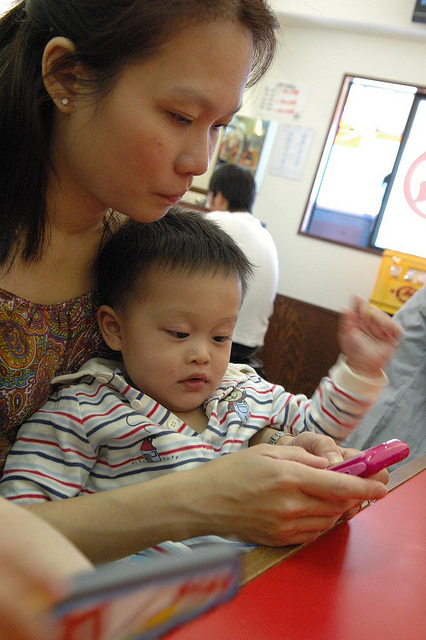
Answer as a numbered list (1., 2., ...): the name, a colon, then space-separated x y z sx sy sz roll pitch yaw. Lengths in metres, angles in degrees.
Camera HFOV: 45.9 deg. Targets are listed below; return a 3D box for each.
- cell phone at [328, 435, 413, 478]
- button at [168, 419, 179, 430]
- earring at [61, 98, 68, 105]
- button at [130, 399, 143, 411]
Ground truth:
1. cell phone: 0.230 0.192 0.739 0.103 0.025 0.057 -25 -7 -9
2. button: -0.075 0.196 0.940 0.018 0.014 0.018 11 8 21
3. earring: -0.234 -0.349 0.794 0.008 0.008 0.003 2 12 12
4. button: -0.142 0.159 0.938 0.022 0.019 0.011 8 8 -3
